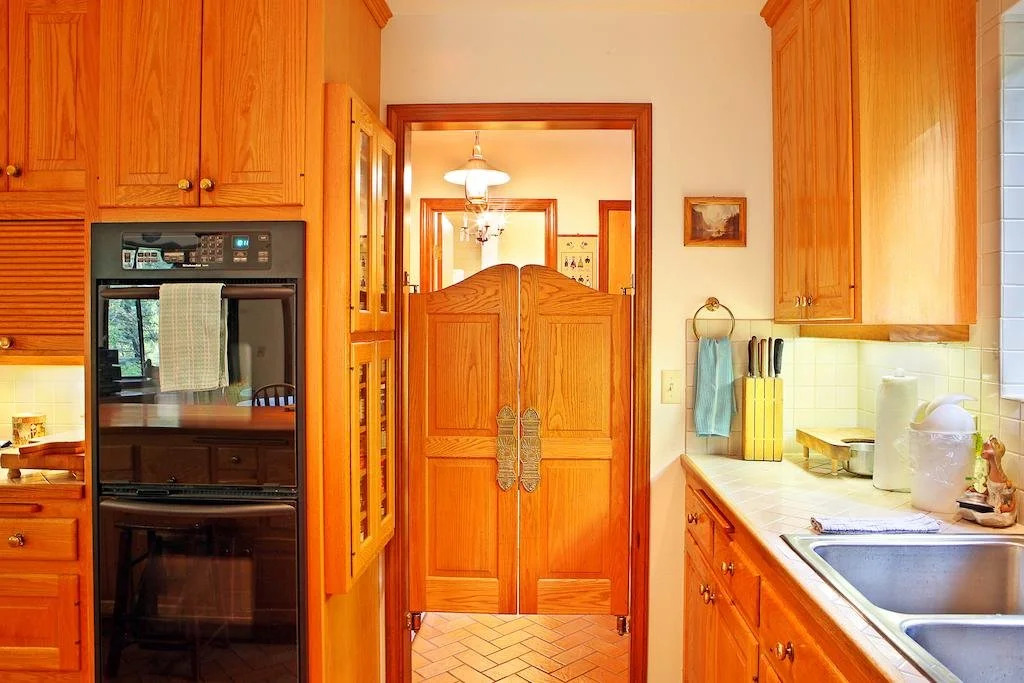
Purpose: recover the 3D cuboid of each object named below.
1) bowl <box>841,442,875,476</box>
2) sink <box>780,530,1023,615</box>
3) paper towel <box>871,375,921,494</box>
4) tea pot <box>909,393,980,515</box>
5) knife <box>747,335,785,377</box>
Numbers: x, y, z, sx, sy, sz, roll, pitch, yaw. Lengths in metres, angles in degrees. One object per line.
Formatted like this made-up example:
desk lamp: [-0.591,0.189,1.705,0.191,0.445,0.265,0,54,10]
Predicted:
bowl: [1.563,0.538,3.533,0.162,0.112,0.119,-1,-1,22]
sink: [1.418,0.845,2.799,0.817,0.273,0.221,-2,2,-4]
paper towel: [1.651,0.392,3.278,0.193,0.473,0.185,3,-3,-9]
tea pot: [1.723,0.444,3.102,0.267,0.429,0.246,-3,2,0]
knife: [1.226,0.077,3.860,0.183,0.231,0.196,1,0,2]
